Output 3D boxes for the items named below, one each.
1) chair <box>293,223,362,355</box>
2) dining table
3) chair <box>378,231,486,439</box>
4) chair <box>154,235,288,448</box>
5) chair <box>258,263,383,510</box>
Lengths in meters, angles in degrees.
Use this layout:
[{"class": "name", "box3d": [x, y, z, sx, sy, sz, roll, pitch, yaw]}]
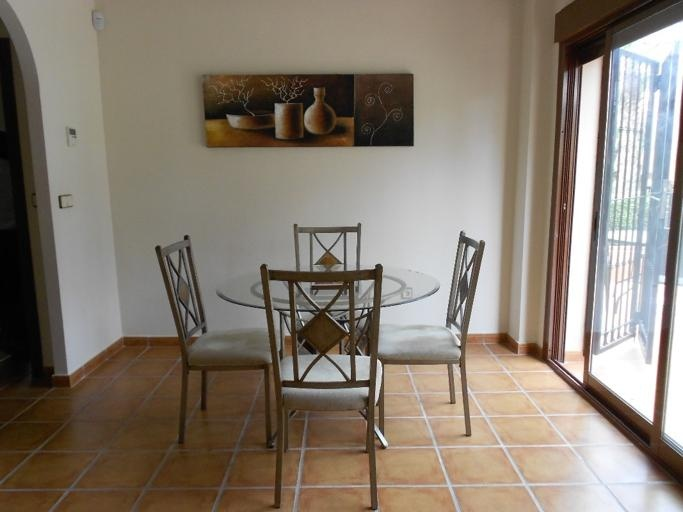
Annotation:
[{"class": "chair", "box3d": [-0.119, 0.025, 4.442, 0.497, 0.923, 0.570, 0, 31, 1]}, {"class": "dining table", "box3d": [-0.143, 0.380, 3.526, 1.323, 0.635, 1.364, 8, -3, -3]}, {"class": "chair", "box3d": [0.561, 0.520, 3.695, 0.678, 1.228, 0.662, 0, 7, 4]}, {"class": "chair", "box3d": [-0.795, 0.554, 3.638, 0.832, 1.239, 0.756, -1, 11, -21]}, {"class": "chair", "box3d": [-0.091, 0.645, 3.235, 0.707, 1.359, 0.938, -1, 12, -4]}]
